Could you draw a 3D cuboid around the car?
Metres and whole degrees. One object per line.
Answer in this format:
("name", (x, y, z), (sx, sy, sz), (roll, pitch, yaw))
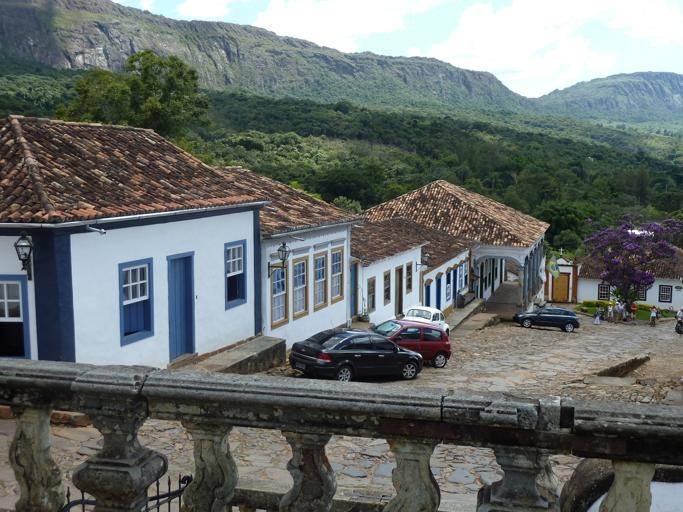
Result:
("car", (0.401, 2.791, 18.647), (3.745, 1.407, 0.961), (6, -6, -33))

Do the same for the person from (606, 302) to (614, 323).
("person", (21.766, 4.475, 53.760), (0.419, 1.434, 2.294), (1, -5, 23))

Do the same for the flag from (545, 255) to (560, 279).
("flag", (20.931, 1.087, 65.983), (1.407, 0.344, 3.201), (41, 16, -1))

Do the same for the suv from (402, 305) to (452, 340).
("suv", (3.461, 2.552, 27.981), (1.106, 0.862, 1.904), (-2, -12, 26))

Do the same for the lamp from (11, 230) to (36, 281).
("lamp", (-5.541, -0.010, 11.611), (0.321, 0.812, 0.593), (5, -5, -24))

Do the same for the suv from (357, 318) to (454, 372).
("suv", (2.218, 2.841, 22.484), (2.630, 1.101, 1.370), (17, -3, -18))

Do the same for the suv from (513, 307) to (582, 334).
("suv", (12.018, 3.623, 38.605), (3.481, 1.104, 1.494), (5, -1, -2))

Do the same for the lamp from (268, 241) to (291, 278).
("lamp", (-1.829, 0.079, 19.183), (0.586, 1.068, 1.411), (3, -5, -4))
